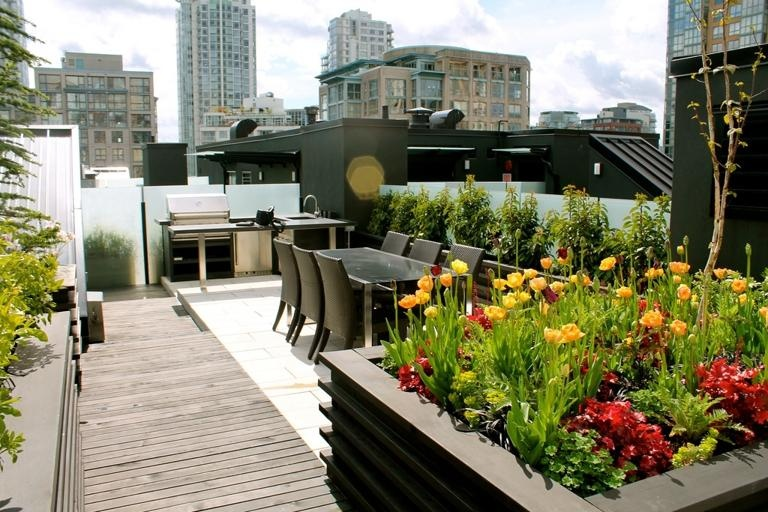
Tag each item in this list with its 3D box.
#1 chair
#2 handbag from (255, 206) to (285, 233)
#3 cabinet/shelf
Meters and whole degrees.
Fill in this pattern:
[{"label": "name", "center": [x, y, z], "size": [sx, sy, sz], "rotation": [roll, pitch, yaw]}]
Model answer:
[{"label": "chair", "center": [-0.279, 0.432, 5.417], "size": [0.998, 1.040, 1.560], "rotation": [-4, 11, -29]}, {"label": "handbag", "center": [-1.615, -0.507, 8.425], "size": [0.515, 0.261, 0.322], "rotation": [26, -4, -43]}, {"label": "cabinet/shelf", "center": [-2.812, -0.059, 8.940], "size": [1.090, 0.798, 1.359], "rotation": [-3, 5, -20]}]
